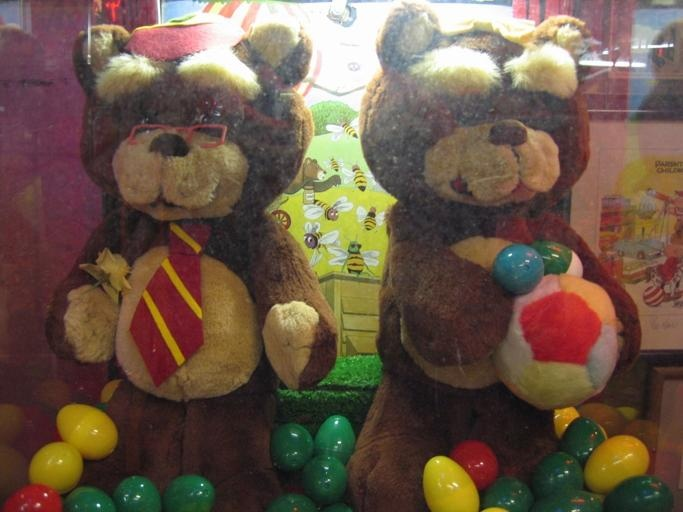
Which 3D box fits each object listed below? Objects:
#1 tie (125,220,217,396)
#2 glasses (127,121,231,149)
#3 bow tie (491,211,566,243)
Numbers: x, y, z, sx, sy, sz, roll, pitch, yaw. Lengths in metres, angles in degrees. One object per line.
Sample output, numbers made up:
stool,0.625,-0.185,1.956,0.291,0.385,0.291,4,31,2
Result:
tie,-0.503,0.138,2.064,0.226,0.449,0.158,-1,13,-11
glasses,-0.469,-0.348,2.011,0.279,0.065,0.051,4,13,5
bow tie,0.563,-0.087,2.081,0.170,0.071,0.091,-5,-15,-16
